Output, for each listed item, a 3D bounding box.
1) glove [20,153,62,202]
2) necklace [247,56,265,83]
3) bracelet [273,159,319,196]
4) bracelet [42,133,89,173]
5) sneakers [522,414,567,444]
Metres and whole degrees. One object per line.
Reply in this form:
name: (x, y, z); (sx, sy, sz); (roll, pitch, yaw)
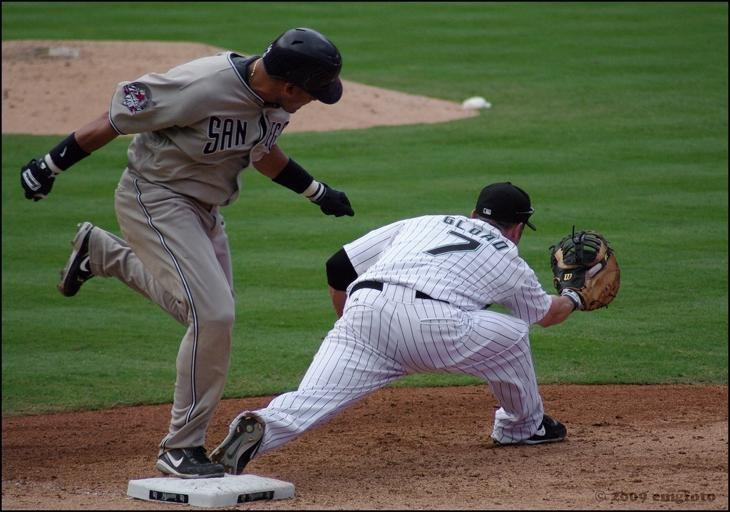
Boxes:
glove: (-2.462, -0.622, 9.604); (0.179, 0.279, 0.406); (-34, -8, 15)
necklace: (-0.812, -1.386, 9.382); (0.126, 0.195, 0.124); (5, 5, -3)
bracelet: (-0.565, -0.681, 10.121); (0.353, 0.107, 0.230); (12, 11, 13)
bracelet: (-2.263, -0.771, 9.445); (0.397, 0.234, 0.131); (-25, -35, 12)
sneakers: (1.364, 1.369, 9.918); (0.460, 0.164, 0.154); (-5, 12, -18)
